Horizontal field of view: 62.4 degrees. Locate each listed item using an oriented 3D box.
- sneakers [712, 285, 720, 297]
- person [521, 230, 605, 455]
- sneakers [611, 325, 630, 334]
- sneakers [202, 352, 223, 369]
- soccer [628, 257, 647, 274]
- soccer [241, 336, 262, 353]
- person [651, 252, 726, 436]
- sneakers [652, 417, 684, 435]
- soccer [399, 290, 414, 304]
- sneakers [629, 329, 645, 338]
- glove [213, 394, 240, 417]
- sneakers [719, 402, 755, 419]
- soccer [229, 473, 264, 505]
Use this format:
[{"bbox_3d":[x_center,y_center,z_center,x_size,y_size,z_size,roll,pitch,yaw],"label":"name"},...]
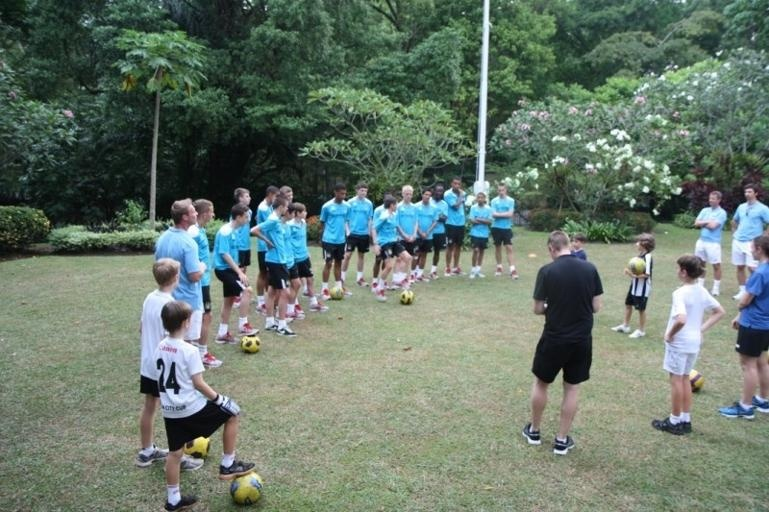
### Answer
[{"bbox_3d":[8.177,0.884,15.660,0.232,0.291,0.698,-3,-6,29],"label":"sneakers"},{"bbox_3d":[2.913,1.433,10.468,1.120,3.665,0.454,2,5,12],"label":"person"},{"bbox_3d":[5.175,1.613,13.917,0.351,0.164,0.161,4,6,34],"label":"sneakers"},{"bbox_3d":[-3.260,2.011,12.139,0.446,0.206,0.194,7,11,26],"label":"sneakers"},{"bbox_3d":[5.216,0.224,13.103,0.336,0.384,0.278,3,5,20],"label":"soccer"},{"bbox_3d":[-2.673,1.762,12.708,0.330,0.314,0.336,-2,2,43],"label":"soccer"},{"bbox_3d":[5.116,1.509,10.843,0.956,3.026,0.485,-2,6,-32],"label":"person"},{"bbox_3d":[4.819,2.904,10.871,0.520,0.224,0.218,13,17,40],"label":"sneakers"},{"bbox_3d":[0.532,1.000,15.465,0.305,0.326,0.315,5,5,3],"label":"soccer"},{"bbox_3d":[5.383,1.672,13.608,0.398,0.169,0.145,-3,8,-1],"label":"sneakers"},{"bbox_3d":[-2.448,2.326,9.813,0.404,0.227,0.166,37,-27,-15],"label":"glove"},{"bbox_3d":[6.146,2.693,11.198,0.619,0.290,0.260,2,4,18],"label":"sneakers"},{"bbox_3d":[-2.099,3.598,9.786,0.455,0.455,0.433,-30,63,-28],"label":"soccer"}]
